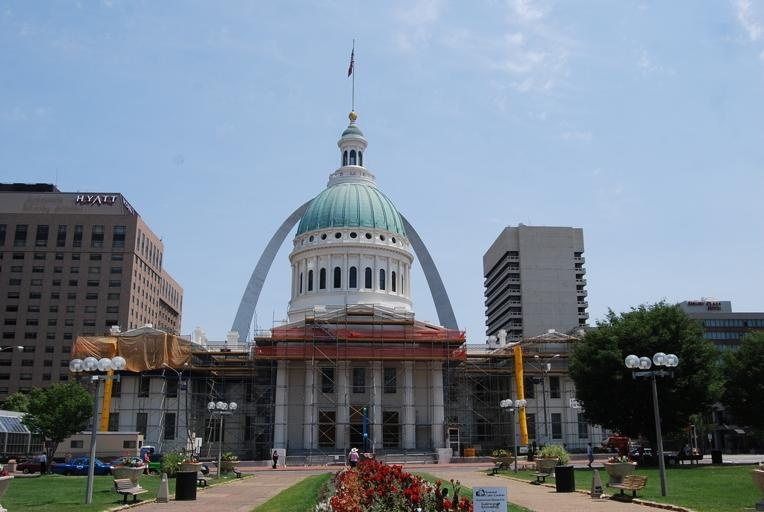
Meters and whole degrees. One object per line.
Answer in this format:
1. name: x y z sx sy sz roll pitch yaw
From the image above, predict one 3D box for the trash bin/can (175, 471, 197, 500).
1. trash bin/can: -13.808 16.351 57.526 1.400 2.045 1.142 4 -19 -17
